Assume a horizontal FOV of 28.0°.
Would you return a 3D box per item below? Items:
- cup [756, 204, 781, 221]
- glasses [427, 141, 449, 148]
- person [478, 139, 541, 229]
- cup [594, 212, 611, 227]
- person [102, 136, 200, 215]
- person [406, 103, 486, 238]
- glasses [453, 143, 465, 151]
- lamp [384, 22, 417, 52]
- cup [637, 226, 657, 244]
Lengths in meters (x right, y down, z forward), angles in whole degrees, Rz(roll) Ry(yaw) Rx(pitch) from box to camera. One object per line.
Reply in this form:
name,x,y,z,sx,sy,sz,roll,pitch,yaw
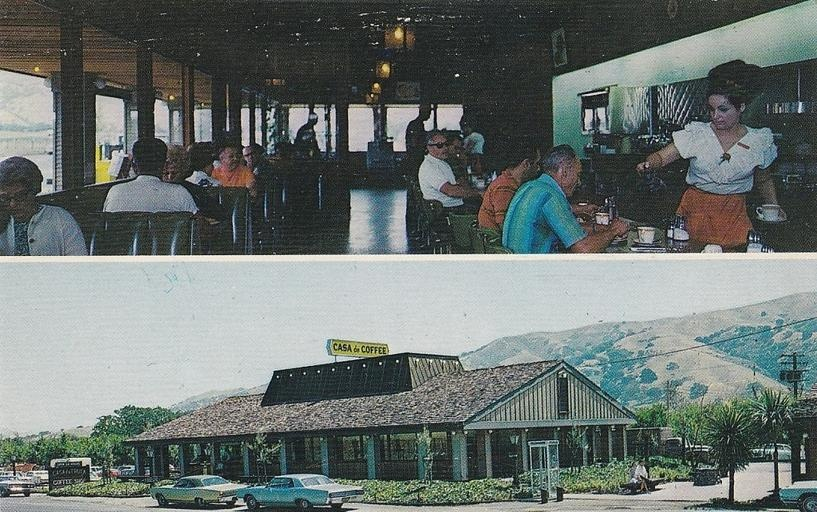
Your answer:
cup,4.525,-0.545,20.556,0.243,0.176,0.212,-4,1,11
glasses,0.372,-1.381,20.477,0.239,0.081,0.052,-2,-6,-1
person,1.360,-1.046,20.762,0.673,0.522,1.028,-25,-1,-6
cup,2.411,-0.452,20.311,0.157,0.116,0.150,-1,2,0
person,-3.234,-0.983,20.630,1.189,1.021,0.595,-2,-11,7
person,0.391,-1.056,20.589,0.912,1.611,0.534,-3,-6,4
glasses,0.645,-1.359,20.522,0.088,0.085,0.064,-2,8,-1
lamp,-0.094,-2.733,20.481,0.468,0.342,0.124,-2,5,-7
cup,2.924,-0.254,20.116,0.169,0.146,0.215,-1,-7,10
